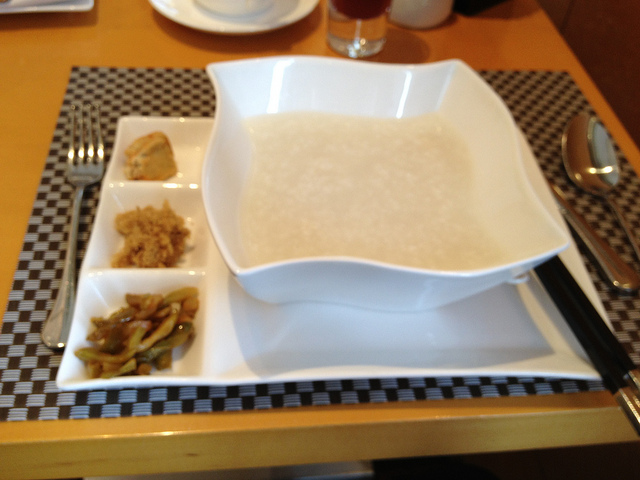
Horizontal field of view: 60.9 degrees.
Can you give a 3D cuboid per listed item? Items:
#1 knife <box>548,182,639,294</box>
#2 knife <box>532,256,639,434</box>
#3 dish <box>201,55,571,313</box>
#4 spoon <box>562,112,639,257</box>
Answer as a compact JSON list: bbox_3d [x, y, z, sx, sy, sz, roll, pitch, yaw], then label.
[{"bbox_3d":[0.416,0.003,0.826,0.021,0.011,0.204,-31,60,12],"label":"knife"},{"bbox_3d":[0.346,0.089,0.788,0.044,0.037,0.356,-24,63,10],"label":"knife"},{"bbox_3d":[0.064,-0.082,0.789,0.391,0.148,0.440,-3,51,-9],"label":"dish"},{"bbox_3d":[0.475,-0.109,0.956,0.075,0.044,0.272,3,51,-23],"label":"spoon"}]
